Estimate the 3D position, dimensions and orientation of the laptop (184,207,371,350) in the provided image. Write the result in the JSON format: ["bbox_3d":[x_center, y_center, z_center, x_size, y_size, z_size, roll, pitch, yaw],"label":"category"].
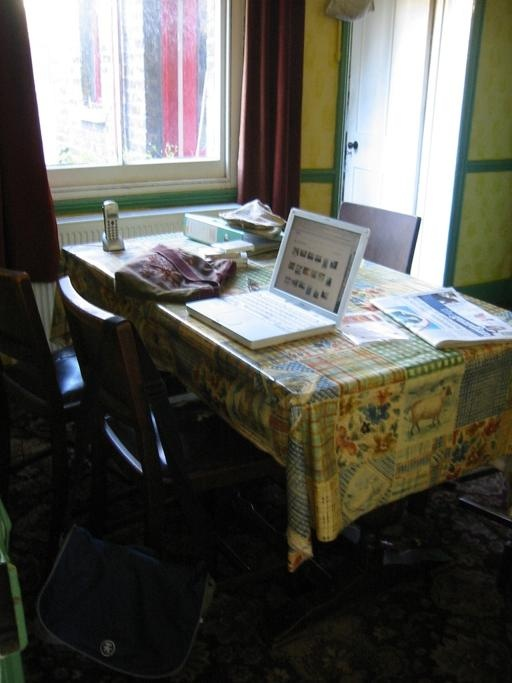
[{"bbox_3d":[0.046,-0.140,1.170,0.341,0.288,0.360,-4,21,-29],"label":"laptop"}]

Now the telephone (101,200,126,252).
[{"bbox_3d":[-0.492,-0.397,1.755,0.056,0.159,0.057,-11,32,-25],"label":"telephone"}]
